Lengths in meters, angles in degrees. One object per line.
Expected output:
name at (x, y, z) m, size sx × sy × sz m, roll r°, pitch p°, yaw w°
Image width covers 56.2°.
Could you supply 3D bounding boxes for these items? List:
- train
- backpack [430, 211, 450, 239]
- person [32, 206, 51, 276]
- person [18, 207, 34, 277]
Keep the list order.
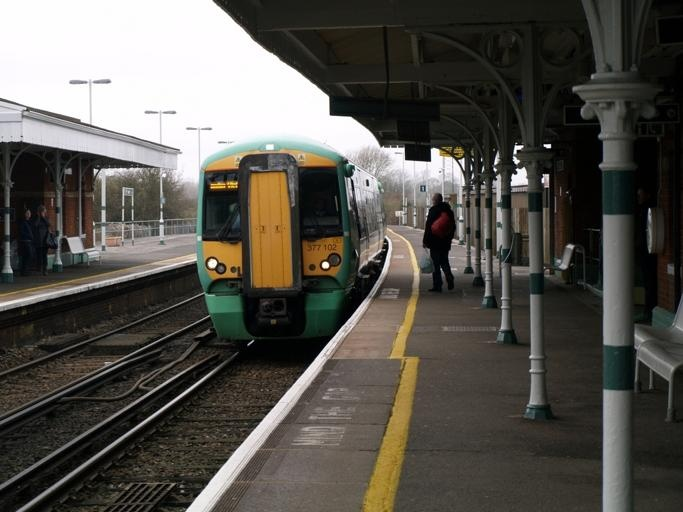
train at (-1.249, -0.343, 12.115) m, size 2.812 × 3.785 × 1.100 m, roll -3°, pitch 6°, yaw -18°
backpack at (2.546, -0.815, 16.540) m, size 0.354 × 0.668 × 0.442 m, roll 35°, pitch -5°, yaw -22°
person at (-10.632, -0.591, 22.710) m, size 0.555 × 2.416 × 1.536 m, roll -4°, pitch 7°, yaw -25°
person at (-11.015, -0.485, 22.368) m, size 0.493 × 2.287 × 0.953 m, roll -5°, pitch 7°, yaw -30°
